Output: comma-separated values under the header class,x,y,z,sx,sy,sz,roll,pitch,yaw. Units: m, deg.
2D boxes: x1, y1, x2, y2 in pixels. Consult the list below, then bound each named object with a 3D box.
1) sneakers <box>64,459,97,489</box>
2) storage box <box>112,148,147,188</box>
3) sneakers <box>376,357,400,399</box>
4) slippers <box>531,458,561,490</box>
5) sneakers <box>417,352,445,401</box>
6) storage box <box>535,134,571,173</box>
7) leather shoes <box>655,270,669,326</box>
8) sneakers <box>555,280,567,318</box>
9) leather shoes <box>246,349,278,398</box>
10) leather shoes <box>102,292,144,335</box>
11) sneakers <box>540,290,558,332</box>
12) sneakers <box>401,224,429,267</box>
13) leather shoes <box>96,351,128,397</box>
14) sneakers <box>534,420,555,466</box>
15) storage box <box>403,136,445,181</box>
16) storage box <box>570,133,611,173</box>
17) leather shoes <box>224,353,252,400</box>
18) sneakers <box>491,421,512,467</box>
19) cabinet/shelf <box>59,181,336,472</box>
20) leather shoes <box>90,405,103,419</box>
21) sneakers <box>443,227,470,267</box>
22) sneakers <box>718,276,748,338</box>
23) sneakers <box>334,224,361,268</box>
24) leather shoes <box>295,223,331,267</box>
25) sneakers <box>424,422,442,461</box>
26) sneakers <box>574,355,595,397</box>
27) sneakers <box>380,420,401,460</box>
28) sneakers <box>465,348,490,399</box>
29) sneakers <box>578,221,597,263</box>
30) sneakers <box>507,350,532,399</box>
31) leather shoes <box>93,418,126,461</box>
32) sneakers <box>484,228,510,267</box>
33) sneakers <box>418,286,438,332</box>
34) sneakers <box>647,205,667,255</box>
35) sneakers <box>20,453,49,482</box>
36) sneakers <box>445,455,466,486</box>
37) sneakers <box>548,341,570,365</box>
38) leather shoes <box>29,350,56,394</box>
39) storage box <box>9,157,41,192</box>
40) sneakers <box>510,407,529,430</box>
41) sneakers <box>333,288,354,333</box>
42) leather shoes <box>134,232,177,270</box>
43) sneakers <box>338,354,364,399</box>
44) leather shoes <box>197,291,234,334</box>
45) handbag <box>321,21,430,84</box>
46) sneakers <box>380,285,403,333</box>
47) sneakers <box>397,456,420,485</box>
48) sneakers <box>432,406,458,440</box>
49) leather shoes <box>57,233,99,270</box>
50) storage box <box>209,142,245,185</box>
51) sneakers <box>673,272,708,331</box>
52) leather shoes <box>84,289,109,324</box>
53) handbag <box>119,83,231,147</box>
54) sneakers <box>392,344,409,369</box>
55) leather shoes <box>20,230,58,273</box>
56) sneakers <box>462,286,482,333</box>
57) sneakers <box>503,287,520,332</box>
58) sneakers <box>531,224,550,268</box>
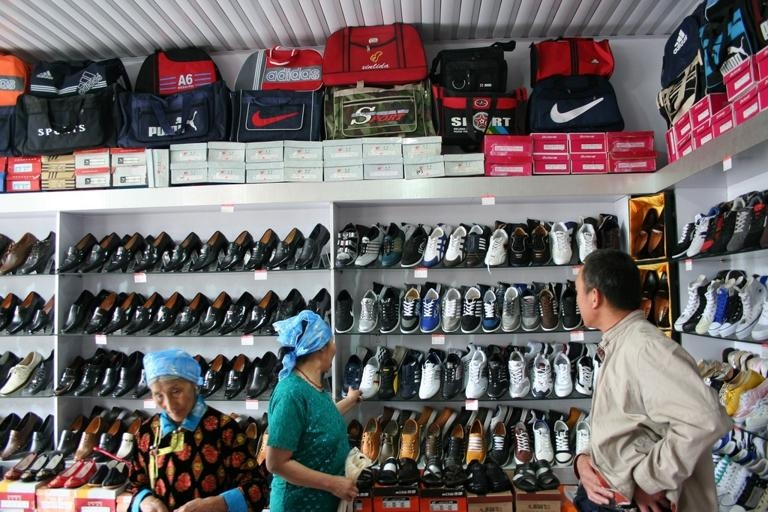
class,x,y,z,sx,sy,sz,roll,pitch,yaw
sneakers,-2.299,1.674,4.520,0.101,0.075,0.217,5,20,18
storage box,-2.057,-0.704,4.952,0.337,0.338,0.296,-1,0,-2
sneakers,0.038,0.978,4.661,0.117,0.340,0.131,0,-37,10
slippers,1.183,1.602,4.325,0.119,0.084,0.209,-3,8,3
sneakers,0.379,0.956,4.709,0.160,0.463,0.160,-5,-60,20
storage box,1.334,-0.811,4.807,0.298,0.284,0.302,-1,0,2
leather shoes,2.113,0.333,4.484,0.123,0.342,0.100,-4,6,-43
sneakers,1.404,0.349,4.725,0.086,0.288,0.112,-6,-25,26
leather shoes,-0.938,0.962,4.830,0.151,0.432,0.167,5,-49,15
leather shoes,-2.126,0.476,4.922,0.140,0.403,0.144,12,-25,21
sneakers,1.288,0.435,4.636,0.119,0.317,0.125,-3,-10,12
sneakers,0.263,-0.067,4.850,0.144,0.403,0.146,11,-25,21
leather shoes,-2.228,0.980,4.887,0.186,0.357,0.197,6,-15,-21
sneakers,1.242,1.466,4.631,0.170,0.164,0.469,1,16,5
storage box,0.332,-0.777,4.847,0.326,0.319,0.339,-2,0,7
storage box,1.631,-0.822,4.767,0.299,0.281,0.306,-1,-1,6
leather shoes,-1.184,0.984,4.827,0.152,0.413,0.130,3,-52,8
sneakers,0.898,1.492,4.616,0.159,0.147,0.423,-1,15,11
cabinet/shelf,-1.405,0.541,4.502,2.237,2.129,0.732,-1,-1,2
leather shoes,-2.378,1.310,4.959,0.116,0.099,0.084,4,-29,0
sneakers,0.579,-0.067,4.793,0.130,0.376,0.137,5,-28,26
sneakers,2.355,0.345,4.036,0.152,0.516,0.200,-5,-41,45
sneakers,-0.282,-0.089,4.843,0.173,0.200,0.507,-2,26,10
leather shoes,-0.582,-0.067,4.902,0.268,0.375,0.181,3,-14,-10
sneakers,0.403,1.461,4.642,0.180,0.275,0.147,5,-14,-17
sneakers,1.534,0.917,4.586,0.109,0.334,0.128,5,-45,3
sneakers,0.058,1.459,4.642,0.098,0.299,0.116,3,-44,10
sneakers,0.758,0.933,4.676,0.144,0.389,0.155,-1,-36,25
sneakers,1.514,-0.095,4.411,0.110,0.338,0.132,1,-37,11
sneakers,1.063,0.941,4.626,0.136,0.386,0.153,-5,-46,20
leather shoes,-2.221,1.519,4.782,0.150,0.166,0.435,2,16,-5
sneakers,0.899,-0.058,4.692,0.150,0.336,0.132,8,-20,18
sneakers,0.361,0.428,4.705,0.123,0.347,0.127,2,-41,11
sneakers,2.094,-0.170,4.549,0.088,0.310,0.103,6,-1,-31
sneakers,-2.701,1.661,4.625,0.080,0.057,0.237,5,20,-4
sneakers,0.529,1.604,4.388,0.159,0.188,0.160,-1,-14,5
sneakers,1.417,0.778,4.773,0.079,0.240,0.101,-31,-72,32
leather shoes,-2.799,0.966,4.909,0.111,0.336,0.127,3,-28,5
storage box,-2.957,-0.656,4.954,0.287,0.273,0.269,-1,-1,-9
sneakers,1.078,1.300,4.738,0.086,0.250,0.098,-1,-54,17
sneakers,-0.319,0.437,4.764,0.155,0.144,0.416,3,30,-1
leather shoes,-1.895,-0.024,4.929,0.102,0.305,0.118,20,-32,24
sneakers,-0.249,0.971,4.752,0.130,0.395,0.143,3,-39,9
leather shoes,-1.365,0.477,4.932,0.156,0.421,0.135,5,-38,32
handbag,-0.109,-1.646,4.739,0.694,0.523,0.207,0,-6,5
sneakers,0.070,0.425,4.741,0.124,0.376,0.148,-1,-28,15
sneakers,0.188,1.604,4.399,0.154,0.169,0.187,0,-14,0
sneakers,0.489,1.327,4.772,0.105,0.323,0.115,22,-25,28
leather shoes,-2.514,-0.006,4.940,0.135,0.386,0.150,28,-10,14
storage box,-1.245,-0.755,4.931,0.313,0.314,0.327,0,1,-1
sneakers,2.201,0.348,4.255,0.413,0.251,0.137,-25,17,-23
leather shoes,-2.408,0.428,5.000,0.094,0.286,0.108,10,-12,-4
handbag,-1.744,-1.179,4.986,0.900,0.511,0.414,-7,13,-6
sneakers,0.138,0.814,4.873,0.110,0.147,0.050,11,-1,43
leather shoes,-2.901,-0.023,5.015,0.224,0.388,0.129,6,-15,-23
sneakers,0.707,0.432,4.737,0.164,0.435,0.158,-4,-58,19
sneakers,1.030,0.430,4.707,0.121,0.355,0.130,2,-19,18
sneakers,1.256,-0.084,4.732,0.124,0.352,0.139,-2,-36,17
